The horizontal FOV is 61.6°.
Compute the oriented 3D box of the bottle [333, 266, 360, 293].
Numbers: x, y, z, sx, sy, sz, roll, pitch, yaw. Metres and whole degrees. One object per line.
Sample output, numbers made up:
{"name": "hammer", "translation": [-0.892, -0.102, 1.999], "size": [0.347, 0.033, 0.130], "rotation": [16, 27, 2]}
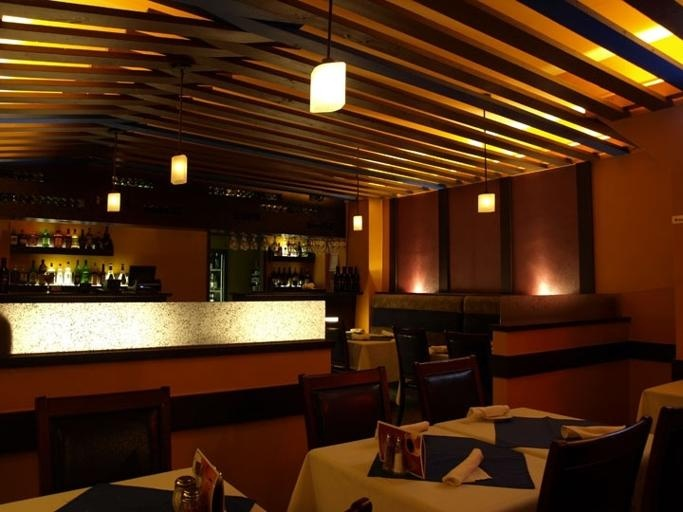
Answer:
{"name": "bottle", "translation": [0.112, 0.412, 10.020], "size": [0.468, 0.485, 0.347], "rotation": [0, -2, -10]}

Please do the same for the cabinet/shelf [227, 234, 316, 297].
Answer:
{"name": "cabinet/shelf", "translation": [-1.249, 0.158, 10.576], "size": [1.230, 1.090, 0.417], "rotation": [0, 6, -6]}

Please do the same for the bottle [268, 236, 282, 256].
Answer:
{"name": "bottle", "translation": [-1.208, -0.177, 10.535], "size": [0.245, 0.355, 0.441], "rotation": [-1, -3, -6]}

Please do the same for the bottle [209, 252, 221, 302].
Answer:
{"name": "bottle", "translation": [-2.442, 0.380, 11.223], "size": [0.272, 0.947, 0.241], "rotation": [0, -2, -18]}
